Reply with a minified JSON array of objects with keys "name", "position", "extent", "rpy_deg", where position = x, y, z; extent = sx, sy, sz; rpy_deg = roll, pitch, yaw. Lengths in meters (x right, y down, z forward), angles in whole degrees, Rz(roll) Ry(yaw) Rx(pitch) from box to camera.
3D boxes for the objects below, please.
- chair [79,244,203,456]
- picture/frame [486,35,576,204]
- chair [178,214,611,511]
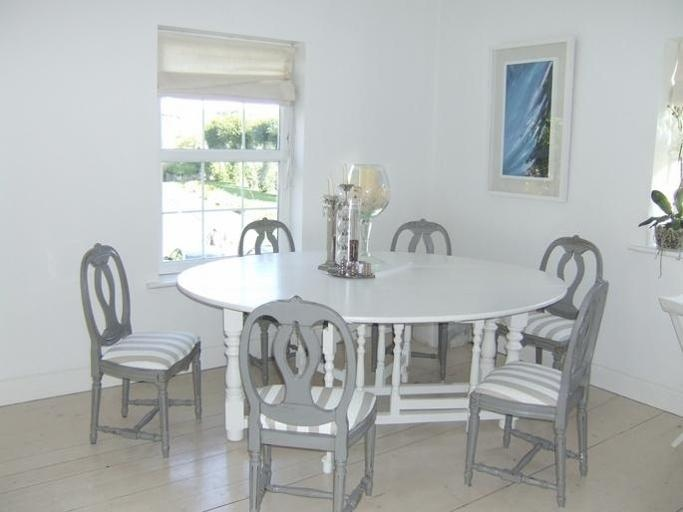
[{"name":"chair","position":[-1.243,0.594,3.538],"extent":[0.682,1.491,0.758],"rpy_deg":[4,15,6]},{"name":"picture/frame","position":[1.410,-1.026,4.368],"extent":[0.154,1.118,0.770],"rpy_deg":[-6,16,-30]},{"name":"chair","position":[0.412,0.936,3.581],"extent":[1.862,0.764,1.357],"rpy_deg":[1,9,1]}]
